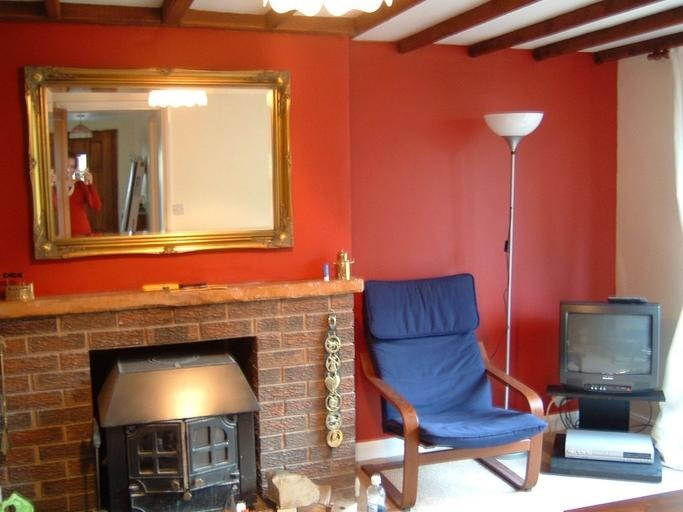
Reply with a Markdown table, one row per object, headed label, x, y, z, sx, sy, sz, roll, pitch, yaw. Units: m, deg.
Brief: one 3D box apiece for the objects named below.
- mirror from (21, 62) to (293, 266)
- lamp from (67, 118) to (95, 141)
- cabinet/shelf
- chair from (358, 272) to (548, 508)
| label | x | y | z | sx | sy | sz | roll | pitch | yaw |
| --- | --- | --- | --- | --- | --- | --- | --- | --- | --- |
| mirror | -1.079 | -0.531 | 3.267 | 1.172 | 0.837 | 0.052 | -3 | 5 | -22 |
| lamp | -1.390 | -0.680 | 3.150 | 0.097 | 0.103 | 0.099 | -1 | 4 | -9 |
| cabinet/shelf | 1.744 | 1.197 | 3.981 | 0.626 | 0.454 | 0.627 | 0 | -1 | 12 |
| chair | 0.672 | 0.820 | 3.835 | 0.985 | 1.341 | 0.981 | -3 | 3 | -16 |
